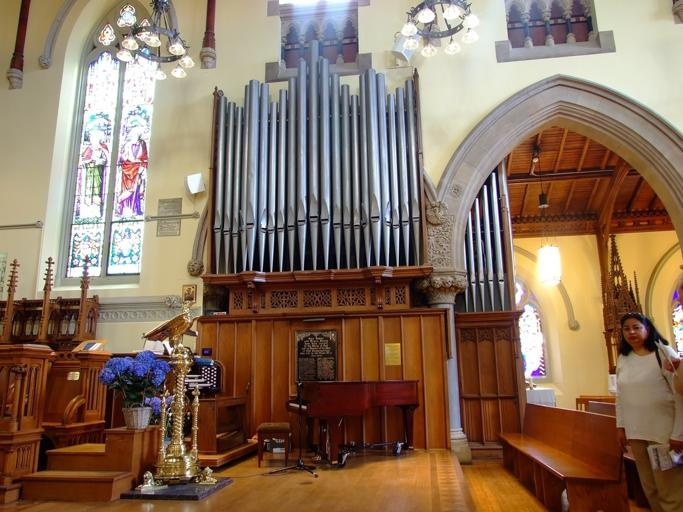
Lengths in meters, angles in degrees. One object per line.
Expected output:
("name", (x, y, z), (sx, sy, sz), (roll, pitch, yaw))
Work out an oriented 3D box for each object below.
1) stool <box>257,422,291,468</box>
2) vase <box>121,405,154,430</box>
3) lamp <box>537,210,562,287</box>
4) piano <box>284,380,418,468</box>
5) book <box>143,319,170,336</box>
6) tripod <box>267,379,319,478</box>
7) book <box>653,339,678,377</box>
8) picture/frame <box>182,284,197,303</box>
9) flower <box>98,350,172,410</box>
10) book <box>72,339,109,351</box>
("stool", (-0.898, 2.434, 6.769), (0.503, 0.504, 0.518), (-6, -13, 22))
("vase", (-2.195, 1.720, 5.483), (0.254, 0.193, 0.257), (4, -22, -9))
("lamp", (5.109, -0.259, 12.828), (0.609, 2.035, 2.229), (-6, -9, 23))
("piano", (0.198, 2.041, 6.832), (1.638, 0.880, 1.321), (1, -18, -5))
("book", (-2.080, 0.822, 5.750), (0.244, 0.145, 1.000), (1, -9, -20))
("tripod", (-0.662, 2.246, 7.017), (0.586, 1.144, 2.050), (-1, -9, -4))
("book", (2.992, 0.949, 4.737), (0.112, 0.235, 0.141), (-20, 17, -29))
("picture/frame", (-2.657, 0.654, 8.949), (0.311, 0.418, 0.058), (-5, -27, 3))
("flower", (-2.273, 1.359, 5.751), (0.622, 0.504, 0.640), (0, -6, 6))
("book", (-3.835, 1.383, 7.846), (0.324, 0.203, 0.127), (-1, -26, -1))
